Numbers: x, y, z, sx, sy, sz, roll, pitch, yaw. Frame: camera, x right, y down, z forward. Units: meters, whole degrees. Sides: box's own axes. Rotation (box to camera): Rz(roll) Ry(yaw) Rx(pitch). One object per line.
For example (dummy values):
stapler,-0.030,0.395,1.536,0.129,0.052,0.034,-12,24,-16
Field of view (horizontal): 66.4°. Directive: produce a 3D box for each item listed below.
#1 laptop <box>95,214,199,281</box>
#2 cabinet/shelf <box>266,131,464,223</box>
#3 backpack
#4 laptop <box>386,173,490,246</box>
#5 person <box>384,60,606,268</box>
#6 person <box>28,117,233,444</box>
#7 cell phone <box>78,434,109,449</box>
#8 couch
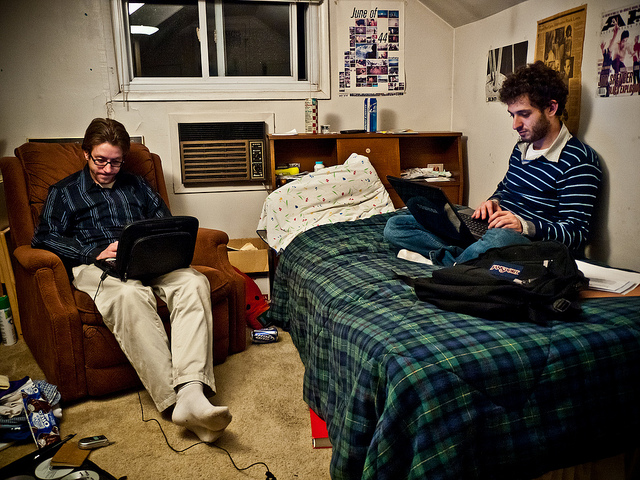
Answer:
laptop,-0.894,0.008,2.498,0.497,0.328,0.504,5,15,-5
cabinet/shelf,0.365,-0.406,3.669,1.343,0.721,0.387,-2,-4,2
backpack,0.762,0.171,1.903,0.441,0.170,0.405,-9,13,-26
laptop,0.687,-0.162,2.481,0.461,0.318,0.498,-10,16,-12
person,0.863,-0.384,2.884,1.125,1.353,1.082,-6,15,-9
person,-0.935,0.111,2.496,0.740,1.488,1.486,-9,10,-37
cell phone,-0.980,0.870,2.120,0.072,0.021,0.056,2,6,-30
couch,-1.186,-0.006,2.992,1.181,1.364,1.465,-8,17,-37
